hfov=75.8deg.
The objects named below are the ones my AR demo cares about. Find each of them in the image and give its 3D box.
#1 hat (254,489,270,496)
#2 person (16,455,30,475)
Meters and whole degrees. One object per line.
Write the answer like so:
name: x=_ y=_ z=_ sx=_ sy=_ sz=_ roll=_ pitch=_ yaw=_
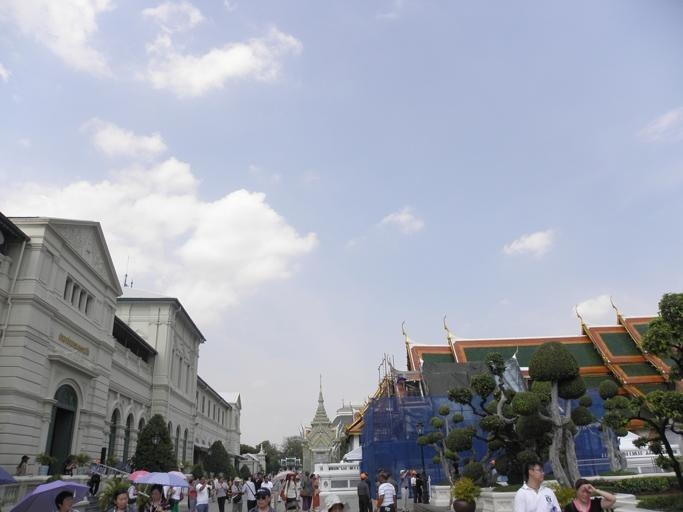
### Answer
hat: x=-1.344 y=3.997 z=7.502 sx=0.182 sy=0.124 sz=0.254 roll=-8 pitch=-33 yaw=9
person: x=-14.013 y=9.089 z=19.316 sx=0.391 sy=0.941 sz=1.258 roll=14 pitch=-34 yaw=-32
